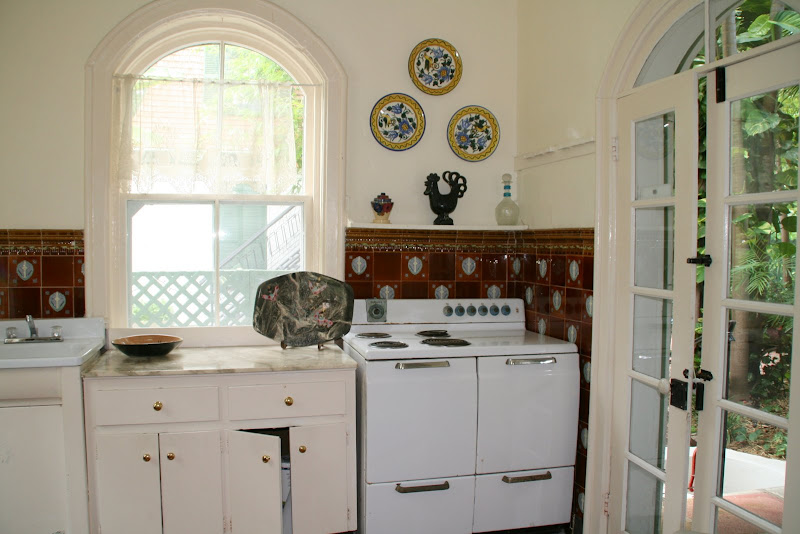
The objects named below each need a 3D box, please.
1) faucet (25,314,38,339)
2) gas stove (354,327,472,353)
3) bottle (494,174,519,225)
[{"bbox_3d":[-2.273,0.348,3.822,0.059,0.144,0.090,-3,3,-32],"label":"faucet"},{"bbox_3d":[0.057,0.438,3.909,0.694,0.054,0.551,-2,3,-9],"label":"gas stove"},{"bbox_3d":[0.740,-0.516,4.339,0.158,0.381,0.248,-1,3,18],"label":"bottle"}]
